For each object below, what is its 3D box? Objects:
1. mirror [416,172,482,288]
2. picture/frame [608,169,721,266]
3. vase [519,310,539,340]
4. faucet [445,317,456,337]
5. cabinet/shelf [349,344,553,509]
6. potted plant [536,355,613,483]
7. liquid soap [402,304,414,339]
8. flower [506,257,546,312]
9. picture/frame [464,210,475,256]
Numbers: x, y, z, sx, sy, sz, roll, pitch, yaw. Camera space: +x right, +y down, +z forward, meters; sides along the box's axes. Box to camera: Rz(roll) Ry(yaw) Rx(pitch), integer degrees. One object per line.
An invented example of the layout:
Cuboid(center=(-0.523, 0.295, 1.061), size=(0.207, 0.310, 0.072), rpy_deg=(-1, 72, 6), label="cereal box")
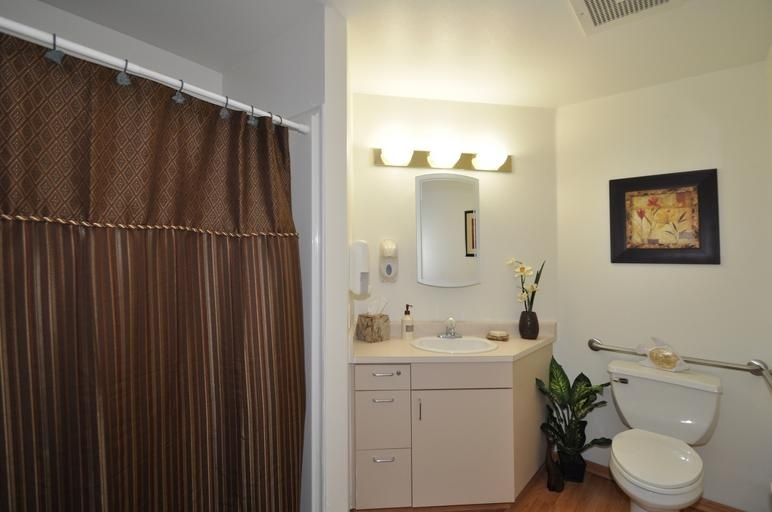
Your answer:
Cuboid(center=(0.464, -0.176, 4.289), size=(0.461, 0.895, 0.051), rpy_deg=(-1, -9, 3), label="mirror")
Cuboid(center=(1.911, -0.266, 3.988), size=(0.647, 0.714, 0.030), rpy_deg=(1, 37, 32), label="picture/frame")
Cuboid(center=(1.035, 0.498, 4.162), size=(0.164, 0.240, 0.172), rpy_deg=(2, -3, 2), label="vase")
Cuboid(center=(0.471, 0.516, 4.154), size=(0.103, 0.128, 0.108), rpy_deg=(1, -5, -7), label="faucet")
Cuboid(center=(0.384, 1.028, 4.087), size=(1.416, 1.038, 0.821), rpy_deg=(0, -4, -5), label="cabinet/shelf")
Cuboid(center=(1.315, 1.237, 4.069), size=(0.442, 0.773, 0.586), rpy_deg=(-2, -11, 12), label="potted plant")
Cuboid(center=(0.168, 0.474, 4.200), size=(0.089, 0.239, 0.129), rpy_deg=(3, 3, 26), label="liquid soap")
Cuboid(center=(1.035, 0.205, 4.308), size=(0.339, 0.535, 0.184), rpy_deg=(-3, -4, 5), label="flower")
Cuboid(center=(0.643, -0.171, 4.305), size=(0.083, 0.329, 0.027), rpy_deg=(3, 12, 31), label="picture/frame")
